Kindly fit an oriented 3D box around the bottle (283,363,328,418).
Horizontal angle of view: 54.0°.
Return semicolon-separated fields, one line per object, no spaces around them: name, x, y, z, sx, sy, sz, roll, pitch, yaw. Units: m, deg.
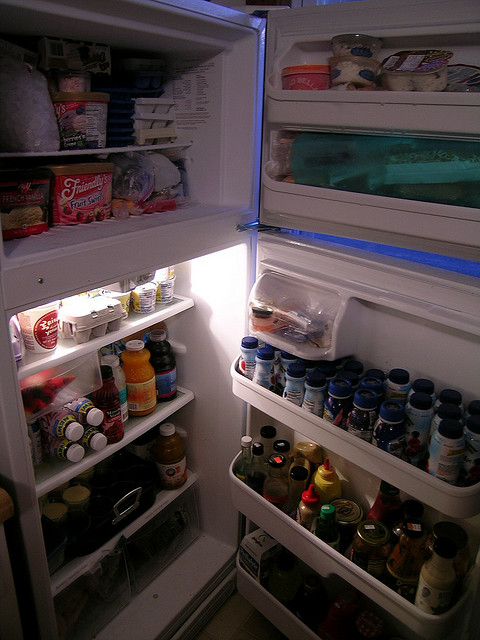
bottle;0.140;0.155;1.010;0.056;0.096;0.099;-22;46;-32

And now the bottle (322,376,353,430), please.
bottle;0.199;0.171;0.952;0.055;0.130;0.053;2;31;-1

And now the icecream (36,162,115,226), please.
icecream;-0.320;-0.258;0.963;0.112;0.135;0.145;18;28;28

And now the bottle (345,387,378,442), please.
bottle;0.235;0.184;0.906;0.048;0.116;0.047;1;35;-1

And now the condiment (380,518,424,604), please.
condiment;0.330;0.484;0.936;0.069;0.196;0.067;13;28;29

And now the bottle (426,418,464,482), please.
bottle;0.348;0.217;0.800;0.038;0.105;0.053;-6;20;-15

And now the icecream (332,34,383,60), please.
icecream;0.236;-0.510;0.887;0.121;0.039;0.065;-10;21;-25

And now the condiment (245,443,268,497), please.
condiment;0.039;0.379;1.177;0.061;0.172;0.060;8;25;18

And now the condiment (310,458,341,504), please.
condiment;0.208;0.386;1.141;0.072;0.115;0.070;-18;29;-28

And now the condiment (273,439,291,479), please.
condiment;0.101;0.346;1.158;0.039;0.099;0.037;-15;37;-12

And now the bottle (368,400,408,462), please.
bottle;0.272;0.207;0.866;0.055;0.126;0.054;-2;34;2

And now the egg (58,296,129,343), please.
egg;-0.340;-0.006;1.088;0.102;0.068;0.137;23;32;29

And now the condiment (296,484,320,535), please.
condiment;0.158;0.427;1.080;0.050;0.141;0.049;9;37;15

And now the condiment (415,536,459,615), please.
condiment;0.355;0.466;0.851;0.057;0.143;0.057;12;19;23

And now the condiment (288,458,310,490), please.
condiment;0.153;0.387;1.187;0.067;0.109;0.060;-2;60;3

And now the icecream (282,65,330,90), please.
icecream;0.130;-0.486;0.921;0.067;0.025;0.064;26;43;36

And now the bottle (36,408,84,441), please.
bottle;-0.417;0.240;1.071;0.095;0.038;0.040;23;36;32

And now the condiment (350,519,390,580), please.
condiment;0.273;0.484;0.988;0.079;0.122;0.077;19;33;34
